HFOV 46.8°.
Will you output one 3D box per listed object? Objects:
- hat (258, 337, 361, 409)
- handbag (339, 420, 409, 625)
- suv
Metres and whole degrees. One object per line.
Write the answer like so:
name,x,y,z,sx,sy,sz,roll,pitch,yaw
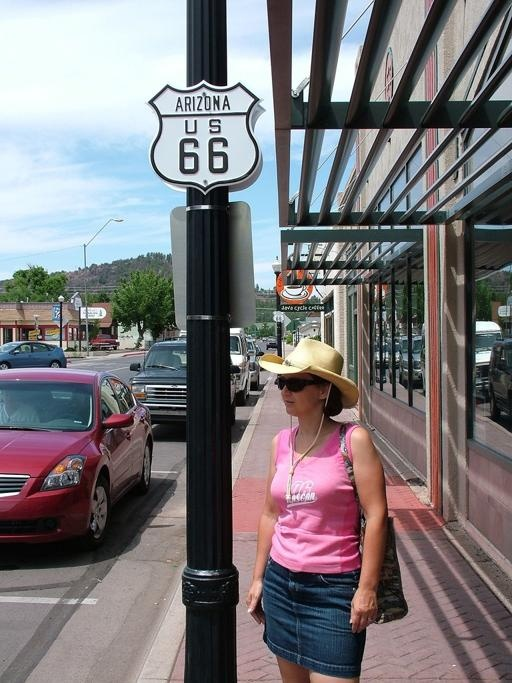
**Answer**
hat,0.201,0.141,2.002,0.277,0.126,0.238,31,-11,-27
handbag,0.368,0.569,1.775,0.215,0.440,0.220,-2,-1,-13
suv,-1.636,0.811,14.366,2.133,1.916,3.981,-1,-5,3
